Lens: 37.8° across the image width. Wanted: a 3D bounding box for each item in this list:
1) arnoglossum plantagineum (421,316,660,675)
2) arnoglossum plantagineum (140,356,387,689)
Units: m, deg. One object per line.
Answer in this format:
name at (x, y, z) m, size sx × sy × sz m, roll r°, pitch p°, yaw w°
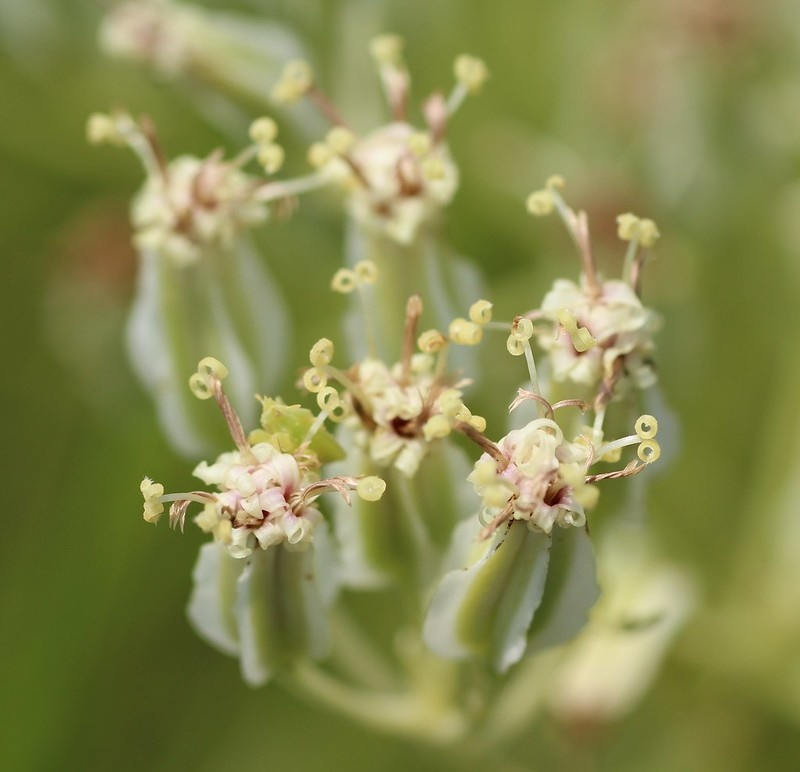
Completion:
arnoglossum plantagineum at (0.162, 0.132, 1.443) m, size 0.258 × 0.422 × 0.233 m, roll 25°, pitch 30°, yaw 23°
arnoglossum plantagineum at (-0.152, 0.155, 1.462) m, size 0.215 × 0.345 × 0.259 m, roll -3°, pitch 16°, yaw -23°
